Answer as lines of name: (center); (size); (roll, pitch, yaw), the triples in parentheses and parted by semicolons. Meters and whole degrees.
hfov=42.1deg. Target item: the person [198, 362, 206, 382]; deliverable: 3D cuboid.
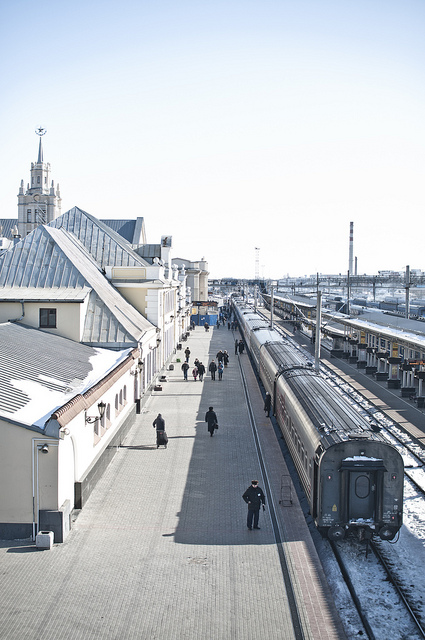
person: (-0.715, 3.197, 33.603); (0.330, 1.089, 1.133); (1, 2, 2)

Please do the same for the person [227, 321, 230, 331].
person: (2.128, 0.823, 75.096); (0.245, 1.171, 1.029); (-1, -1, -10)

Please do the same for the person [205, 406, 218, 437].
person: (-0.041, 3.889, 21.212); (0.437, 1.165, 0.717); (1, 2, 0)

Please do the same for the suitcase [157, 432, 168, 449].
suitcase: (-1.789, 4.255, 19.559); (0.475, 0.814, 0.449); (1, -5, -5)

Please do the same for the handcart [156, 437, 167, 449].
handcart: (-1.802, 4.353, 19.518); (0.414, 0.525, 0.357); (0, 3, 1)

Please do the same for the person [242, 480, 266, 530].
person: (0.937, 4.272, 12.811); (0.459, 1.177, 0.316); (2, 6, 25)

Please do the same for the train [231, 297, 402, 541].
train: (2.744, 2.102, 17.937); (1.704, 2.709, 13.220); (1, 16, -6)
